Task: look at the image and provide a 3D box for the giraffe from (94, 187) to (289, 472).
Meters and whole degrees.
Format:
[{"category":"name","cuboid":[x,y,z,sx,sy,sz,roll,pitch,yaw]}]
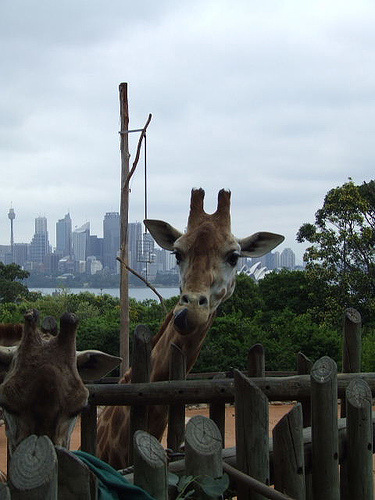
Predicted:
[{"category":"giraffe","cuboid":[-0.059,0.556,7.750,1.329,2.126,1.441,1,-1,11]}]
